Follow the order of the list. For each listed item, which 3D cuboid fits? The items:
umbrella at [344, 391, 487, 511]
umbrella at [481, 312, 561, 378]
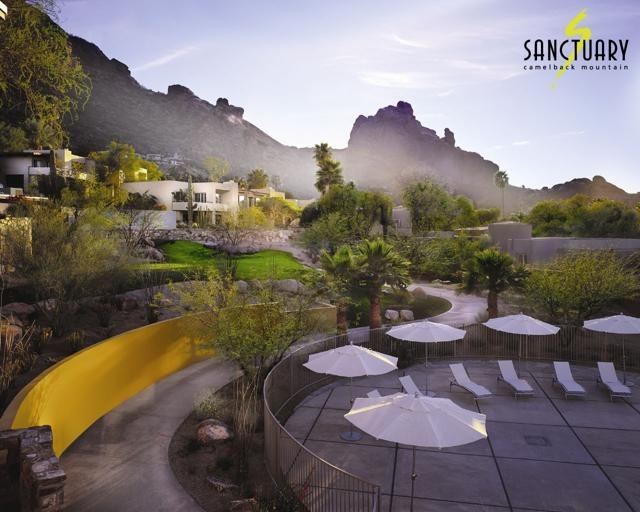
[{"bbox_3d":[2.555,4.298,11.942,3.421,0.702,1.791,2,14,14],"label":"umbrella"},{"bbox_3d":[8.914,4.432,20.536,2.730,3.037,2.979,1,-2,3],"label":"umbrella"}]
